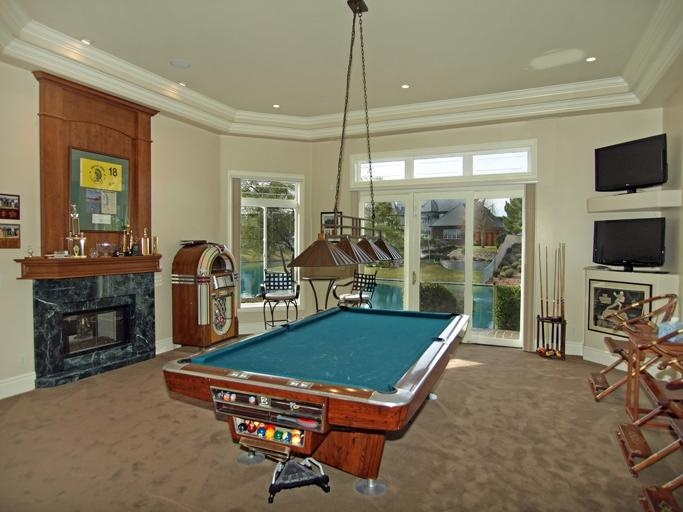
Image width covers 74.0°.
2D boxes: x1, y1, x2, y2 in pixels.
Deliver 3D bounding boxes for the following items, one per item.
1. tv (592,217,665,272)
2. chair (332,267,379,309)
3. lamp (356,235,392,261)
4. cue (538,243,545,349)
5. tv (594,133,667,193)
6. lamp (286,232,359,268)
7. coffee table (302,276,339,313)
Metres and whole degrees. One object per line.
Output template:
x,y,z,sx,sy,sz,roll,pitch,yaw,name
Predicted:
3.856,-0.159,6.043,0.108,0.650,0.772,-1,-2,-34,tv
0.244,0.578,7.756,0.609,0.817,0.721,-2,-8,28,chair
0.305,-0.076,4.432,0.343,0.171,0.477,0,0,-1,lamp
3.025,0.661,6.859,0.103,2.102,0.099,-32,33,-32,cue
3.864,-1.221,6.018,0.232,0.825,0.975,-5,3,-28,tv
-0.224,-0.078,4.897,0.673,0.332,0.739,-1,-1,4,lamp
-0.435,0.686,8.020,0.628,0.693,0.647,0,-6,3,coffee table
